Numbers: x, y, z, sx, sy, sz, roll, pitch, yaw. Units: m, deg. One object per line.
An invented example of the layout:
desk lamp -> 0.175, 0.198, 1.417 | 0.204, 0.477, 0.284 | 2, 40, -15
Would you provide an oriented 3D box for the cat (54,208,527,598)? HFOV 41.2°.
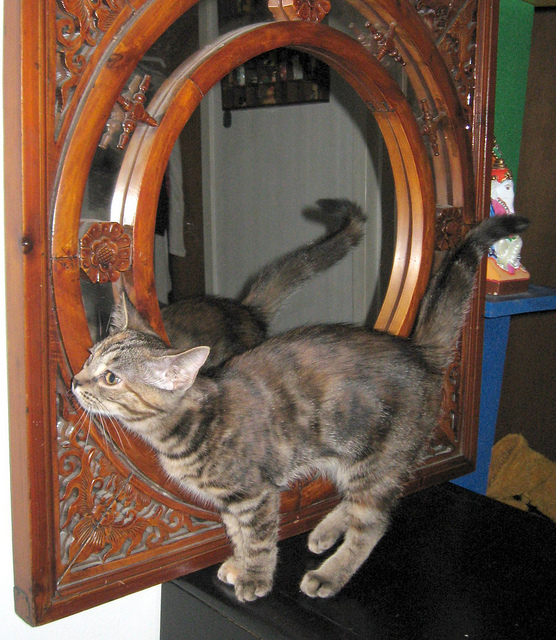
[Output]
cat -> 0.065, 0.177, 1.299 | 0.998, 0.551, 0.259 | -7, 16, -34
